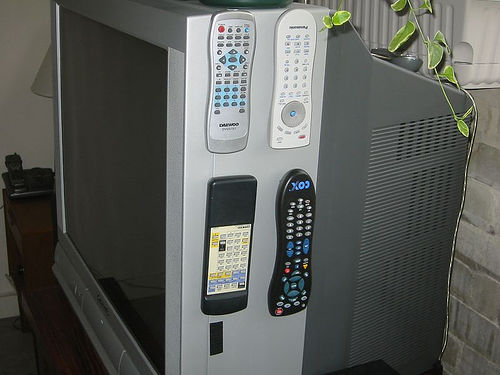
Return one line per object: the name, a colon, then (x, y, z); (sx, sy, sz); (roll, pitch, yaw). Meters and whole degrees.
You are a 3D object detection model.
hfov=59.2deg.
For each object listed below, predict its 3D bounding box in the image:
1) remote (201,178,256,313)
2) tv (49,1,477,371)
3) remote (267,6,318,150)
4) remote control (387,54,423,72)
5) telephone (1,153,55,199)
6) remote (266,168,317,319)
remote: (-0.036, 0.102, 0.768); (0.086, 0.259, 0.026); (-2, 23, -15)
tv: (-0.103, 0.052, 1.287); (0.797, 1.080, 1.034); (-8, 26, -22)
remote: (0.073, -0.179, 0.744); (0.090, 0.223, 0.038); (-7, 10, -27)
remote control: (0.310, -0.246, 0.865); (0.047, 0.024, 0.040); (-8, 25, -4)
telephone: (-1.135, -0.051, 2.221); (0.234, 0.155, 0.241); (-4, 24, -28)
remote: (0.077, 0.106, 0.809); (0.086, 0.274, 0.037); (-6, 9, -21)
